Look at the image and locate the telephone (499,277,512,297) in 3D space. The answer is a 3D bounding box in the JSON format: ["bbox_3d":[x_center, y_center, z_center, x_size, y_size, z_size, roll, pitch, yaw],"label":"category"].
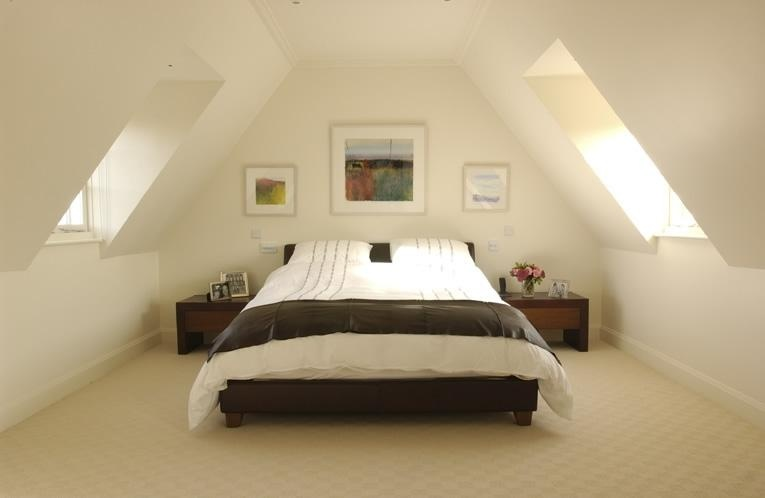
[{"bbox_3d":[1.458,0.454,6.399,0.155,0.226,0.203,1,2,7],"label":"telephone"}]

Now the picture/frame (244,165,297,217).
[{"bbox_3d":[-1.433,-0.739,6.549,0.622,0.621,0.042,0,1,-5],"label":"picture/frame"}]

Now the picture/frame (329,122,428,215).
[{"bbox_3d":[-0.067,-1.021,6.574,1.110,1.048,0.076,0,2,-2],"label":"picture/frame"}]

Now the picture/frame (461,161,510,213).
[{"bbox_3d":[1.304,-0.780,6.562,0.616,0.627,0.047,0,0,0],"label":"picture/frame"}]

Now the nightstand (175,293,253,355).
[{"bbox_3d":[-1.978,0.792,6.234,1.058,0.691,0.585,0,13,0],"label":"nightstand"}]

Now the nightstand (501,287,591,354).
[{"bbox_3d":[1.972,0.638,6.324,1.075,0.708,0.626,0,1,-2],"label":"nightstand"}]

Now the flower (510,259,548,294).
[{"bbox_3d":[1.748,0.318,6.360,0.384,0.384,0.388,-1,0,-6],"label":"flower"}]

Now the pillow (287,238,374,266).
[{"bbox_3d":[-0.608,0.041,6.151,0.636,0.134,0.413,1,17,4],"label":"pillow"}]
